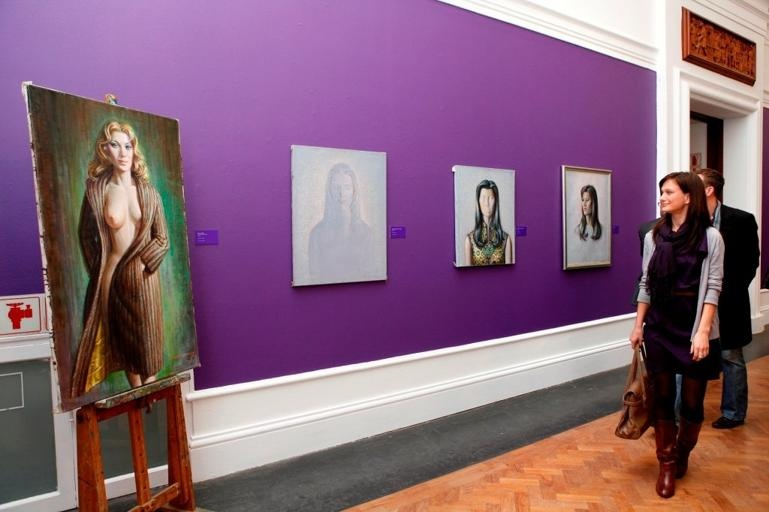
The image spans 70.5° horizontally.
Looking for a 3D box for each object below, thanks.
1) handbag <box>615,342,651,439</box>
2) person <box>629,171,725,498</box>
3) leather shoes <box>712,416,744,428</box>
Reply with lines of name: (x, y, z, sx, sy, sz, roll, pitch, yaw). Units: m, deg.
handbag: (2.228, 1.243, 4.812, 0.209, 0.680, 0.336, 9, 15, 42)
person: (2.612, 0.693, 4.899, 0.713, 2.826, 0.666, 7, 13, 35)
leather shoes: (3.715, 1.799, 5.923, 0.329, 0.157, 0.130, 2, 1, -4)
